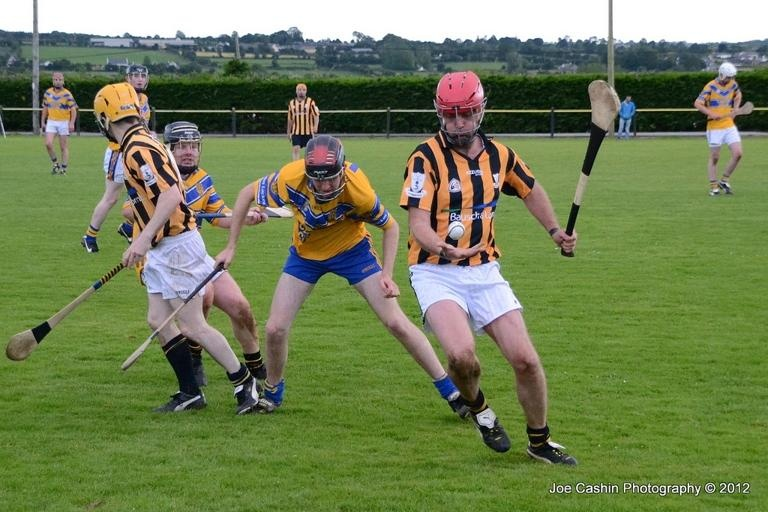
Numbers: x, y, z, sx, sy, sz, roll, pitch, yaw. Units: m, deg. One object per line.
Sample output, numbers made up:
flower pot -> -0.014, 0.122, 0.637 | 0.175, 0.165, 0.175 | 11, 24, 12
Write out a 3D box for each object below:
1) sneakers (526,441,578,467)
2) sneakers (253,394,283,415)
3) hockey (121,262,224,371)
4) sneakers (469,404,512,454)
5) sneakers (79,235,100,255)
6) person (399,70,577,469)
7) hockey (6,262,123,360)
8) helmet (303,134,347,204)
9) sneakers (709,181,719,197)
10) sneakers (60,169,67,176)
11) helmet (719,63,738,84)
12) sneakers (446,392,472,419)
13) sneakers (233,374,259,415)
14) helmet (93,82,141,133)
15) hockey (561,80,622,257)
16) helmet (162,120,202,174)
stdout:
sneakers -> 1.387, 1.610, 7.521 | 0.445, 0.155, 0.155 | 6, 12, 14
sneakers -> -1.050, 1.366, 8.267 | 0.098, 0.100, 0.224 | 7, -15, 33
hockey -> -1.956, 0.601, 8.588 | 1.550, 0.167, 0.126 | -39, 22, -8
sneakers -> 0.905, 1.437, 7.669 | 0.204, 0.508, 0.222 | -36, -14, 4
sneakers -> -4.030, -0.154, 12.568 | 0.141, 0.172, 0.376 | -16, 32, -42
person -> 0.850, 0.042, 7.693 | 1.167, 3.107, 1.391 | -9, 17, -33
hockey -> -3.470, 0.637, 9.948 | 1.496, 0.190, 0.076 | -42, 15, -21
helmet -> -0.463, -0.751, 7.834 | 0.412, 0.530, 0.523 | -3, 50, 8
sneakers -> 5.915, -1.206, 16.259 | 0.187, 0.236, 0.445 | 6, 14, 19
sneakers -> -6.880, -1.796, 19.610 | 0.128, 0.102, 0.181 | 0, 1, -29
helmet -> 6.069, -3.254, 16.109 | 0.271, 0.313, 0.645 | 5, 14, 17
sneakers -> 0.682, 1.322, 8.168 | 0.137, 0.137, 0.304 | -17, 22, -17
sneakers -> -1.230, 1.218, 8.301 | 0.212, 0.144, 0.412 | 30, 40, -24
helmet -> -2.458, -1.361, 8.207 | 0.379, 0.411, 0.441 | -14, 32, -27
hockey -> 1.589, -0.742, 7.934 | 0.299, 1.567, 0.518 | 25, 20, 24
helmet -> -1.941, -1.134, 9.100 | 0.407, 0.488, 0.520 | -6, 16, -28
